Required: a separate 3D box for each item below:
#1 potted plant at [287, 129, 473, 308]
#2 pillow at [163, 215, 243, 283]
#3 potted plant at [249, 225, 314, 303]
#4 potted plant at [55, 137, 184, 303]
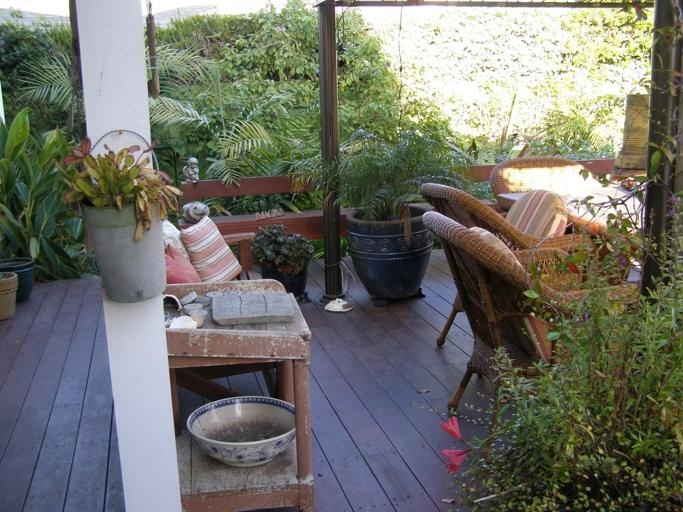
[{"bbox_3d":[0.369,-0.310,4.939,1.410,1.486,1.406,1,7,40],"label":"potted plant"},{"bbox_3d":[-0.985,-0.038,3.540,0.432,0.264,0.478,40,29,16],"label":"pillow"},{"bbox_3d":[-0.539,0.027,4.611,0.608,0.809,0.546,-2,8,-13],"label":"potted plant"},{"bbox_3d":[-0.655,-0.112,1.545,0.315,0.485,0.304,1,16,-1],"label":"potted plant"}]
